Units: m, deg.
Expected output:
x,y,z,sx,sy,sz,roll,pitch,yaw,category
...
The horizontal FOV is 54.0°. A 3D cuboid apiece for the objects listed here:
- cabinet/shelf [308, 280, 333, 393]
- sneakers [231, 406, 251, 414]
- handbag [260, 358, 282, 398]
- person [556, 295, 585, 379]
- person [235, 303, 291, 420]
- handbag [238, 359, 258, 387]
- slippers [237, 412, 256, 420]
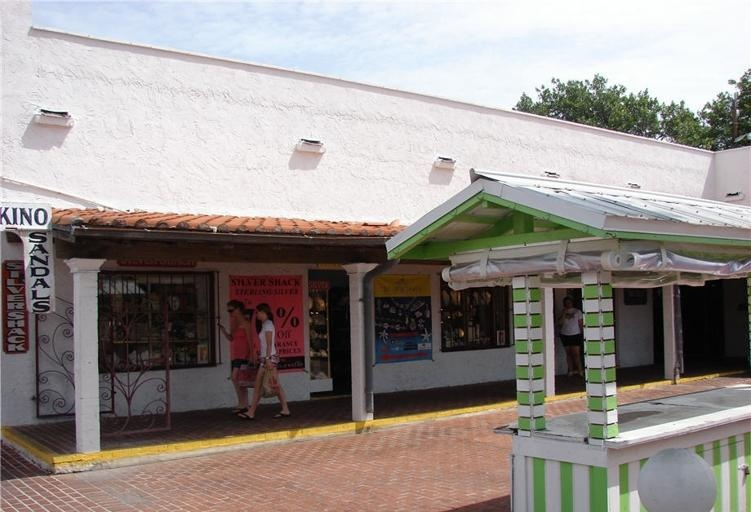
x,y,z,sx,sy,sz,roll,pitch,yaw,category
-1.238,1.584,15.803,0.607,2.192,0.252,-3,6,-38,cabinet/shelf
-2.540,2.845,13.619,0.310,0.096,0.168,-1,-4,28,sneakers
-1.883,2.148,12.984,0.373,0.674,0.211,-3,6,-37,handbag
4.817,1.982,18.190,0.650,2.010,1.369,2,5,13,person
-2.037,1.938,13.582,0.861,2.194,1.551,1,5,-4,person
-2.374,2.145,13.422,0.541,0.459,0.234,4,-11,-22,handbag
-2.385,2.900,13.383,0.281,0.061,0.122,12,-11,-2,slippers
